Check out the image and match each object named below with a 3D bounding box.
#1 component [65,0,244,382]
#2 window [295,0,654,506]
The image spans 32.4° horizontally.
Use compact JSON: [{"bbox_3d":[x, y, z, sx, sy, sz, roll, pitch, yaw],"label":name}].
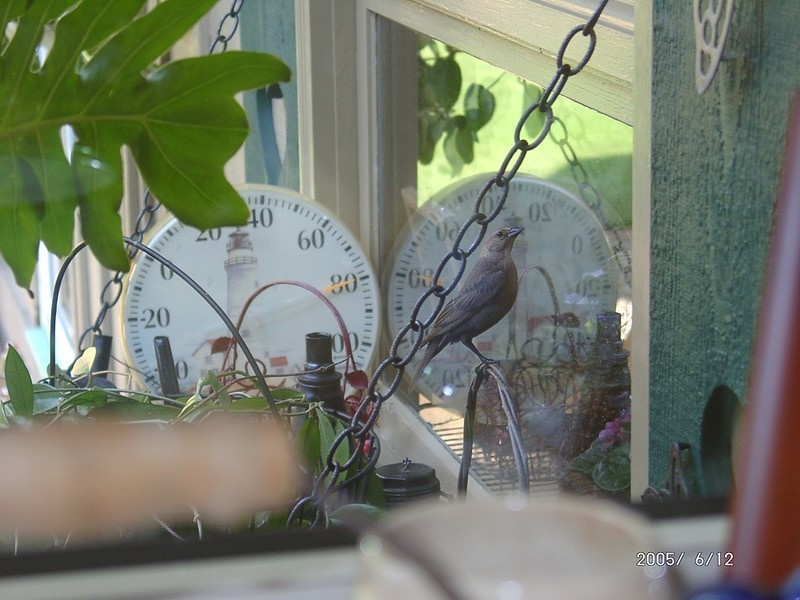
[{"bbox_3d":[-0.151,-0.075,0.850,0.021,0.273,0.015,28,6,33],"label":"component"},{"bbox_3d":[0.051,-0.040,0.941,0.196,0.336,0.310,-3,-5,10],"label":"window"}]
